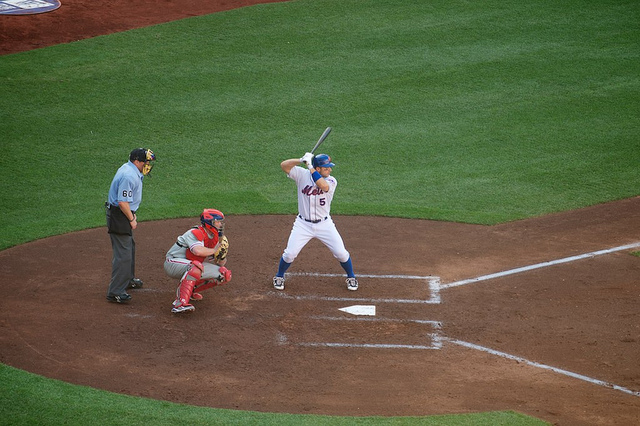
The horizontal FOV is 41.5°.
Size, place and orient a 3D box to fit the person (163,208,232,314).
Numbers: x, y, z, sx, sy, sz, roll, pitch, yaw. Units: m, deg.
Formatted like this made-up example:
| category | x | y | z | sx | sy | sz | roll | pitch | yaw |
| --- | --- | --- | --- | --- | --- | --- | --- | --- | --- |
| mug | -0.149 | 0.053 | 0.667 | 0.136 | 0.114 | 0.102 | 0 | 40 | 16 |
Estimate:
| category | x | y | z | sx | sy | sz | roll | pitch | yaw |
| --- | --- | --- | --- | --- | --- | --- | --- | --- | --- |
| person | -2.465 | 0.939 | 16.684 | 1.359 | 1.918 | 0.891 | -14 | 31 | -24 |

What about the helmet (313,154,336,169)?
| category | x | y | z | sx | sy | sz | roll | pitch | yaw |
| --- | --- | --- | --- | --- | --- | --- | --- | --- | --- |
| helmet | 0.050 | -1.043 | 17.041 | 0.396 | 0.164 | 0.251 | 0 | 14 | 5 |

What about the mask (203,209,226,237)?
| category | x | y | z | sx | sy | sz | roll | pitch | yaw |
| --- | --- | --- | --- | --- | --- | --- | --- | --- | --- |
| mask | -2.161 | 0.172 | 16.757 | 0.571 | 0.442 | 0.391 | 10 | 9 | 5 |

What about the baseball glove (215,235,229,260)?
| category | x | y | z | sx | sy | sz | roll | pitch | yaw |
| --- | --- | --- | --- | --- | --- | --- | --- | --- | --- |
| baseball glove | -2.002 | 0.693 | 16.880 | 0.159 | 0.486 | 0.448 | 9 | 28 | 18 |

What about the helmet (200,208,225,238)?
| category | x | y | z | sx | sy | sz | roll | pitch | yaw |
| --- | --- | --- | --- | --- | --- | --- | --- | --- | --- |
| helmet | -2.118 | 0.193 | 16.620 | 0.664 | 0.489 | 0.448 | 5 | 25 | -6 |

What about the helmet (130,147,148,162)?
| category | x | y | z | sx | sy | sz | roll | pitch | yaw |
| --- | --- | --- | --- | --- | --- | --- | --- | --- | --- |
| helmet | -3.626 | -1.152 | 16.733 | 0.358 | 0.248 | 0.191 | -5 | 27 | -9 |
